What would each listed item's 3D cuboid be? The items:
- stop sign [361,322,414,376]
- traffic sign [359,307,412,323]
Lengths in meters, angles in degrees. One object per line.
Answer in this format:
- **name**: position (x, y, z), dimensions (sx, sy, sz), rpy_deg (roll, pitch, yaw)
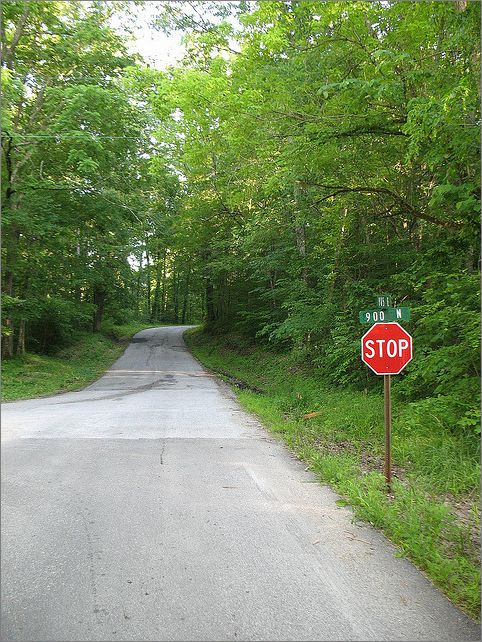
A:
- **stop sign**: position (1.639, 0.329, 6.187), dimensions (0.527, 0.629, 0.326), rpy_deg (5, 11, 15)
- **traffic sign**: position (1.684, -0.070, 6.395), dimensions (0.556, 0.238, 0.202), rpy_deg (8, 11, 35)
